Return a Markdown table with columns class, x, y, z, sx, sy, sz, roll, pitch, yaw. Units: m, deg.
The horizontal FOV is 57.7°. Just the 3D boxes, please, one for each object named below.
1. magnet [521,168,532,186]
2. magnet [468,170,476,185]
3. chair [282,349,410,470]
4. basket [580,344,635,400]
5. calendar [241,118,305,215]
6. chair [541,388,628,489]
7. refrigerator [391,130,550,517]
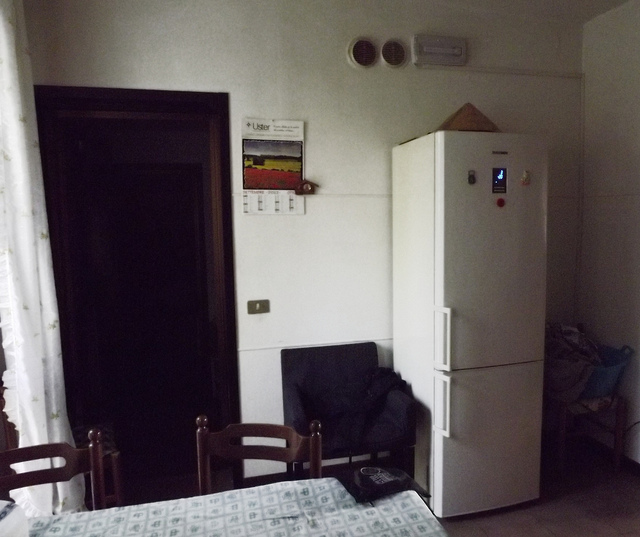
| class | x | y | z | sx | sy | sz | roll | pitch | yaw |
| --- | --- | --- | --- | --- | --- | --- | --- | --- | --- |
| magnet | 1.184 | -0.528 | 3.311 | 0.047 | 0.086 | 0.022 | -2 | 12 | -16 |
| magnet | 0.847 | -0.509 | 3.230 | 0.042 | 0.071 | 0.015 | -2 | 2 | -6 |
| chair | 0.188 | 0.921 | 3.508 | 0.755 | 0.824 | 0.611 | -7 | 5 | -7 |
| basket | 1.895 | 0.672 | 3.787 | 0.353 | 0.327 | 0.287 | -3 | 2 | 41 |
| calendar | -0.293 | -0.613 | 3.597 | 0.402 | 0.622 | 0.012 | 0 | -10 | -9 |
| chair | 1.825 | 1.030 | 4.002 | 0.300 | 0.608 | 0.313 | -11 | 18 | 18 |
| refrigerator | 0.882 | 0.307 | 3.427 | 0.881 | 2.188 | 0.541 | 0 | 9 | 8 |
